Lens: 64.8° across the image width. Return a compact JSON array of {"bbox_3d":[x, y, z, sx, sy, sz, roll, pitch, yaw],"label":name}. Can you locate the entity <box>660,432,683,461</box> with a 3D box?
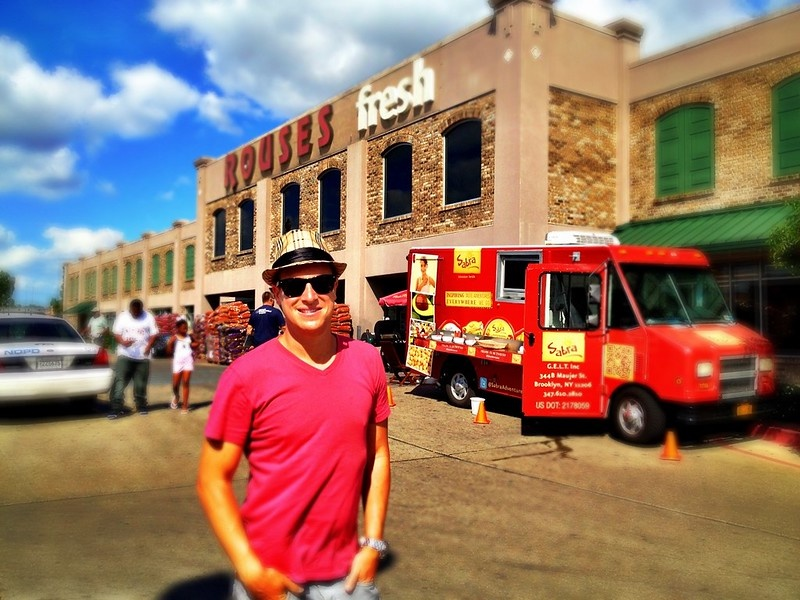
[{"bbox_3d":[3.947,2.088,9.110,0.348,0.452,0.347,-1,6,3],"label":"entity"}]

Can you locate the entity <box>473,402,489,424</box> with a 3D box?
[{"bbox_3d":[1.457,2.036,11.460,0.322,0.388,0.340,-1,3,4],"label":"entity"}]

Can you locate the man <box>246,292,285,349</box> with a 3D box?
[{"bbox_3d":[-2.233,0.512,10.348,0.572,1.550,0.459,3,30,-9],"label":"man"}]

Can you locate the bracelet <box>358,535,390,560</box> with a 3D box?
[{"bbox_3d":[-0.124,1.304,3.354,0.168,0.083,0.135,16,-11,22],"label":"bracelet"}]

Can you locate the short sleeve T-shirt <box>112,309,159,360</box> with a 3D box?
[{"bbox_3d":[-4.807,0.655,11.445,0.743,0.922,0.492,1,-7,-34],"label":"short sleeve T-shirt"}]

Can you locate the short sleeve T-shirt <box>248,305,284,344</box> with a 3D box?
[{"bbox_3d":[-1.939,0.356,9.106,0.634,0.735,0.382,1,2,2],"label":"short sleeve T-shirt"}]

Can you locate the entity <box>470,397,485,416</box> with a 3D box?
[{"bbox_3d":[1.505,1.975,11.642,0.325,0.271,0.335,-2,4,-20],"label":"entity"}]

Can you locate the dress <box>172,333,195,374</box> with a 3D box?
[{"bbox_3d":[-4.145,1.033,11.981,0.321,0.740,0.464,1,1,-18],"label":"dress"}]

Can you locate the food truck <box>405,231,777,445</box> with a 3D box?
[{"bbox_3d":[2.926,0.607,11.658,3.531,3.012,5.822,2,-5,-35],"label":"food truck"}]
